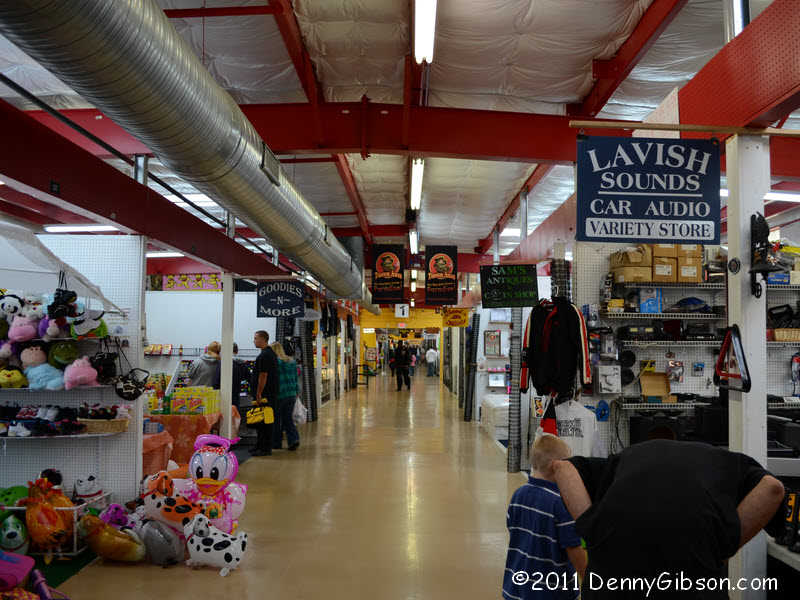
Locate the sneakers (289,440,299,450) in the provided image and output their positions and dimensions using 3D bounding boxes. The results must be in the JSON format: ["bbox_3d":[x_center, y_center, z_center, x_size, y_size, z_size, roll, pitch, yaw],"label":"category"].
[{"bbox_3d":[-1.590,2.182,9.067,0.091,0.144,0.320,1,-3,8],"label":"sneakers"}]

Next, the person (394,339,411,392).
[{"bbox_3d":[0.107,2.104,19.864,0.599,1.693,0.513,-4,16,-11],"label":"person"}]

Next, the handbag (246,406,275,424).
[{"bbox_3d":[-1.953,1.613,8.384,0.303,0.290,0.157,0,-10,-1],"label":"handbag"}]

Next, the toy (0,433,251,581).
[{"bbox_3d":[-2.126,1.664,4.998,1.539,0.892,1.010,3,-12,-1],"label":"toy"}]

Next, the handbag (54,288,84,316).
[{"bbox_3d":[-2.760,0.029,5.057,0.242,0.245,0.172,4,-4,-15],"label":"handbag"}]

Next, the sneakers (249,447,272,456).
[{"bbox_3d":[-2.022,2.190,8.681,0.294,0.128,0.107,6,-13,-1],"label":"sneakers"}]
